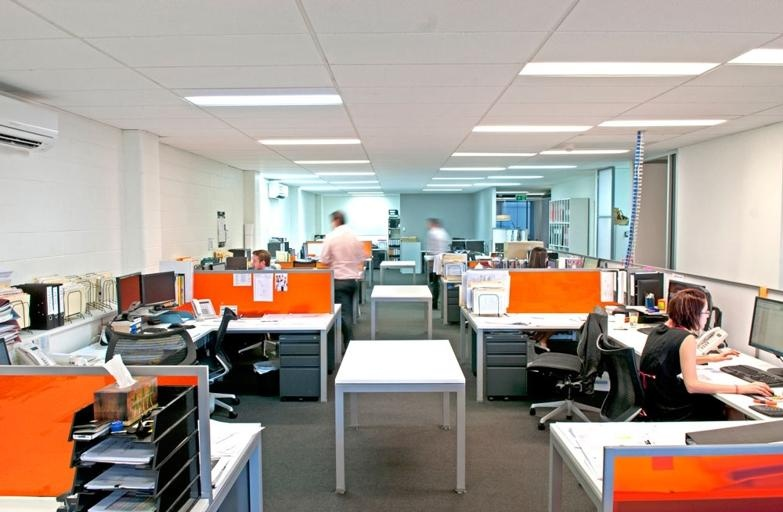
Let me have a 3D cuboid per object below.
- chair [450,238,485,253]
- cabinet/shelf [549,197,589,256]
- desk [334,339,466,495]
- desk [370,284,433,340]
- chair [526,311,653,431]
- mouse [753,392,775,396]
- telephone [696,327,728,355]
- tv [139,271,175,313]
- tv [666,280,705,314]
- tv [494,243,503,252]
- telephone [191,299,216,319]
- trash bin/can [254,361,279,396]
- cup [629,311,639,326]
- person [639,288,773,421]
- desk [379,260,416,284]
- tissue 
[{"bbox_3d":[1.899,-0.239,13.041,0.507,0.272,0.485,2,-1,-40],"label":"chair"},{"bbox_3d":[4.370,-0.768,13.657,0.435,1.338,2.455,0,4,4],"label":"cabinet/shelf"},{"bbox_3d":[0.101,1.126,4.670,1.161,0.748,1.654,0,5,0],"label":"desk"},{"bbox_3d":[0.143,0.752,7.421,0.778,0.487,0.842,0,2,1],"label":"desk"},{"bbox_3d":[1.851,1.102,5.063,1.223,1.295,1.201,-1,1,4],"label":"chair"},{"bbox_3d":[2.882,1.070,4.177,0.105,0.023,0.059,-7,2,-4],"label":"mouse"},{"bbox_3d":[2.955,0.806,4.997,0.303,0.118,0.211,-35,14,16],"label":"telephone"},{"bbox_3d":[-2.669,0.396,6.069,0.126,0.412,0.536,0,3,15],"label":"tv"},{"bbox_3d":[2.611,0.357,4.796,0.418,0.248,0.041,1,-3,29],"label":"tv"},{"bbox_3d":[2.552,-0.204,12.919,0.251,0.205,0.225,-1,0,3],"label":"tv"},{"bbox_3d":[-2.220,0.628,6.350,0.247,0.221,0.107,-1,-22,-32],"label":"telephone"},{"bbox_3d":[-1.423,1.387,6.110,0.336,0.273,0.337,1,4,-2],"label":"trash bin/can"},{"bbox_3d":[2.661,0.700,5.977,0.137,0.173,0.128,-1,4,0],"label":"cup"},{"bbox_3d":[2.432,0.817,4.332,0.810,1.088,0.400,0,4,10],"label":"person"},{"bbox_3d":[0.149,0.315,14.543,0.752,0.597,0.693,0,6,-4],"label":"desk"},{"bbox_3d":[-1.486,0.735,3.021,0.199,0.296,0.340,-1,-1,3],"label":"tissue "}]
